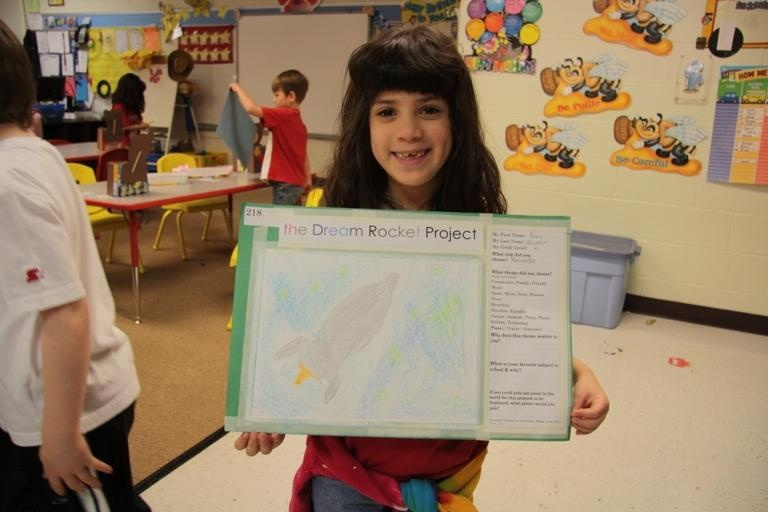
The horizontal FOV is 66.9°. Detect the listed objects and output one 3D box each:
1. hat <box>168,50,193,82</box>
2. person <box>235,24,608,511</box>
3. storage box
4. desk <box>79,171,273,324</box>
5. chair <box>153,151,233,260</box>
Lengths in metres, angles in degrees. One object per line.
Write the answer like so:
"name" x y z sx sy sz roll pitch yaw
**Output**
"hat" -2.785 -2.569 7.897 0.358 0.407 0.150 9 19 -4
"person" 0.089 0.060 1.685 0.956 1.401 0.432 3 14 4
"storage box" 1.534 0.161 4.063 0.546 0.563 0.412 7 15 21
"desk" -1.364 -0.193 4.601 1.442 0.692 0.801 -12 7 -30
"chair" -1.770 -0.480 5.340 0.584 0.864 0.546 7 12 34
